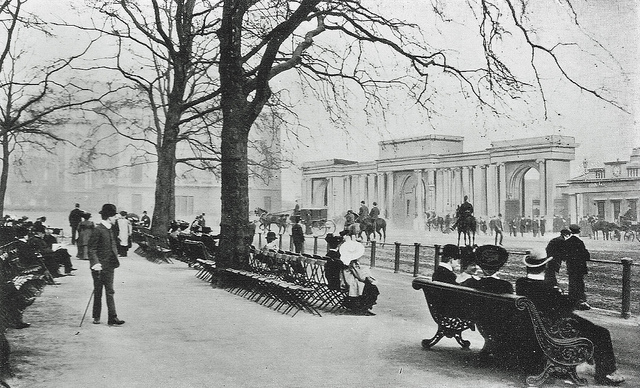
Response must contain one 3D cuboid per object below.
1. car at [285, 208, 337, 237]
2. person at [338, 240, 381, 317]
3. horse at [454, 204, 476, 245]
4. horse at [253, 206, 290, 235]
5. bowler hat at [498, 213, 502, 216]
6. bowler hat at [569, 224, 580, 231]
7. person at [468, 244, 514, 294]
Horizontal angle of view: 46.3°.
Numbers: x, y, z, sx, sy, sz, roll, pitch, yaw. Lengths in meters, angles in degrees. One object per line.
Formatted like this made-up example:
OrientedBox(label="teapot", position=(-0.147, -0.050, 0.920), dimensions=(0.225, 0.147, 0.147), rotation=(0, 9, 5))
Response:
OrientedBox(label="car", position=(-0.146, 2.249, 59.302), dimensions=(3.290, 1.311, 2.089), rotation=(-7, -15, 38))
OrientedBox(label="person", position=(1.224, 2.612, 23.364), dimensions=(1.190, 2.248, 0.514), rotation=(2, -4, -1))
OrientedBox(label="horse", position=(8.583, 1.962, 44.014), dimensions=(0.798, 2.170, 3.165), rotation=(-2, -4, 27))
OrientedBox(label="horse", position=(-3.584, 2.095, 58.249), dimensions=(3.376, 2.019, 0.744), rotation=(0, 6, 34))
OrientedBox(label="bowler hat", position=(13.761, 1.562, 56.617), dimensions=(0.433, 0.150, 0.553), rotation=(0, 0, 14))
OrientedBox(label="bowler hat", position=(8.469, 1.108, 24.648), dimensions=(0.314, 0.222, 0.521), rotation=(0, -4, 17))
OrientedBox(label="person", position=(4.531, 2.008, 20.029), dimensions=(1.728, 1.562, 1.179), rotation=(0, -6, 5))
